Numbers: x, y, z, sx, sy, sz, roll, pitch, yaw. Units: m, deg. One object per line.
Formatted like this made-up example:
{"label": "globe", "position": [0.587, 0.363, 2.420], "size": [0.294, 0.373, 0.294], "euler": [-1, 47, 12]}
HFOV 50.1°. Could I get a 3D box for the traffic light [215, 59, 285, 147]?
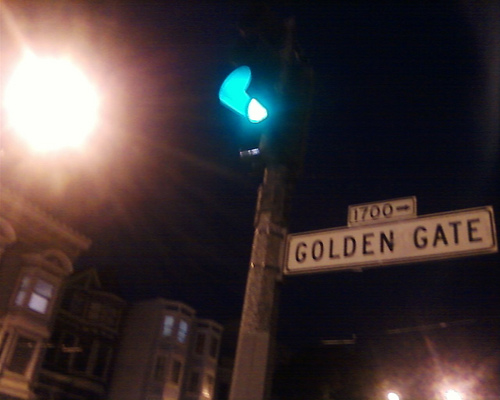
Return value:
{"label": "traffic light", "position": [0.006, -1.381, 7.464], "size": [0.877, 1.036, 0.452], "euler": [12, -35, -5]}
